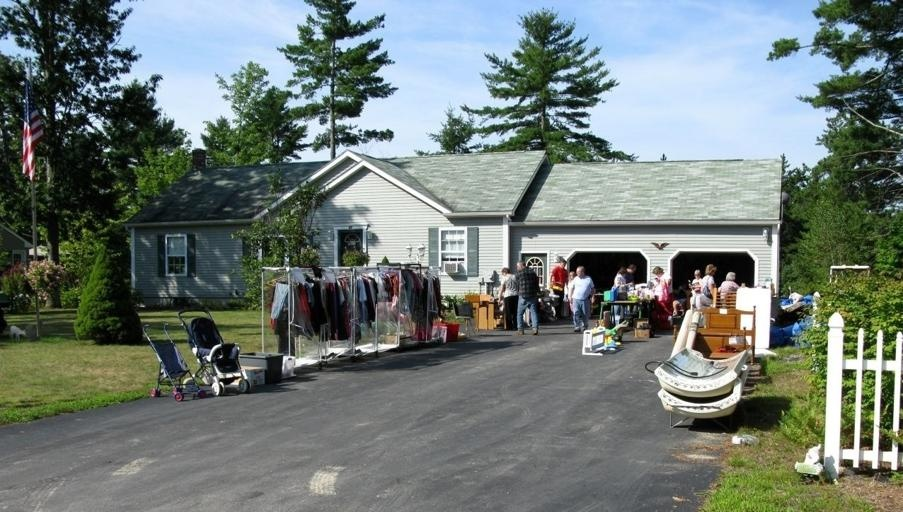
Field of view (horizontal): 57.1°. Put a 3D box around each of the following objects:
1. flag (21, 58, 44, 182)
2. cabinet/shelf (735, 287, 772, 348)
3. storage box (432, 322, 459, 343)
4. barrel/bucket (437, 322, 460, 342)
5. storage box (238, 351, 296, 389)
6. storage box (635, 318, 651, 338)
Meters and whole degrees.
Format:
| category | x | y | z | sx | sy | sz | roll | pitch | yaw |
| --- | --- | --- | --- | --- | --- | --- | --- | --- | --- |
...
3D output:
| category | x | y | z | sx | sy | sz | roll | pitch | yaw |
| --- | --- | --- | --- | --- | --- | --- | --- | --- | --- |
| flag | -17.851 | -5.828 | 35.317 | 0.630 | 5.800 | 5.177 | -1 | -1 | -26 |
| cabinet/shelf | 9.367 | 1.977 | 25.594 | 0.906 | 1.758 | 0.440 | -2 | -1 | 14 |
| storage box | -0.245 | 2.712 | 29.124 | 0.767 | 0.474 | 0.777 | -3 | -4 | 40 |
| barrel/bucket | -0.163 | 2.705 | 29.216 | 0.674 | 0.492 | 0.680 | 0 | -3 | 0 |
| storage box | -5.440 | 3.311 | 23.816 | 1.003 | 0.620 | 1.022 | -2 | -2 | 33 |
| storage box | 6.856 | 2.632 | 29.737 | 0.552 | 0.719 | 0.725 | 1 | -3 | 14 |
